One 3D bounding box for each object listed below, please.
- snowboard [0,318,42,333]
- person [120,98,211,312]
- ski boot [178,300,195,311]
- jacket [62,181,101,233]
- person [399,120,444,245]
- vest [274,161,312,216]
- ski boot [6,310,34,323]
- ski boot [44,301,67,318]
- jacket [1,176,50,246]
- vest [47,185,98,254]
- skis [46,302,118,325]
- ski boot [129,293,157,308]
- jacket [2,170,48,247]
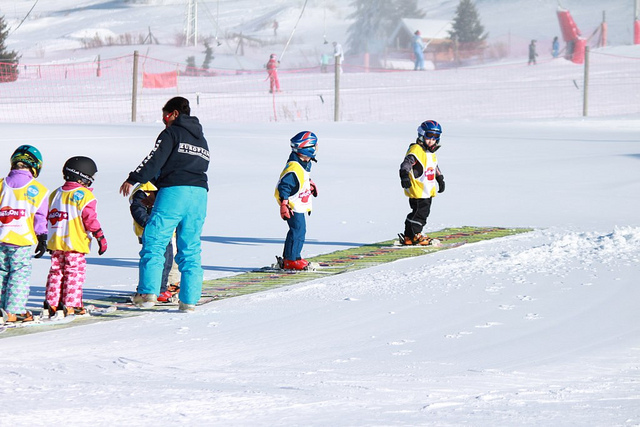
[{"bbox_3d":[-3.174,1.200,11.273,0.449,0.079,0.143,-15,16,-40],"label":"snowboard"},{"bbox_3d":[-1.598,0.017,11.785,1.061,2.153,0.597,-19,18,-38],"label":"person"},{"bbox_3d":[-1.470,1.060,11.779,0.128,0.082,0.141,0,1,4],"label":"ski boot"},{"bbox_3d":[-2.753,-0.054,11.795,0.370,0.590,0.748,2,1,-21],"label":"jacket"},{"bbox_3d":[1.409,-0.448,15.034,0.584,1.640,0.929,-4,14,14],"label":"person"},{"bbox_3d":[-0.342,-0.346,14.102,0.468,0.619,0.724,6,6,12],"label":"vest"},{"bbox_3d":[-3.202,1.136,11.344,0.287,0.108,0.155,-11,14,-24],"label":"ski boot"},{"bbox_3d":[-2.862,1.048,11.538,0.191,0.183,0.228,-13,14,-24],"label":"ski boot"},{"bbox_3d":[-3.307,-0.032,11.524,0.410,0.709,0.619,2,0,-22],"label":"jacket"},{"bbox_3d":[-2.726,0.041,11.888,0.708,0.691,0.458,3,4,32],"label":"vest"},{"bbox_3d":[-2.542,1.137,11.613,0.201,0.125,0.834,10,15,38],"label":"skis"},{"bbox_3d":[-1.955,0.999,11.849,0.350,0.127,0.119,6,19,27],"label":"ski boot"},{"bbox_3d":[-3.327,-0.058,11.617,0.455,0.808,0.584,2,-1,-19],"label":"jacket"}]
